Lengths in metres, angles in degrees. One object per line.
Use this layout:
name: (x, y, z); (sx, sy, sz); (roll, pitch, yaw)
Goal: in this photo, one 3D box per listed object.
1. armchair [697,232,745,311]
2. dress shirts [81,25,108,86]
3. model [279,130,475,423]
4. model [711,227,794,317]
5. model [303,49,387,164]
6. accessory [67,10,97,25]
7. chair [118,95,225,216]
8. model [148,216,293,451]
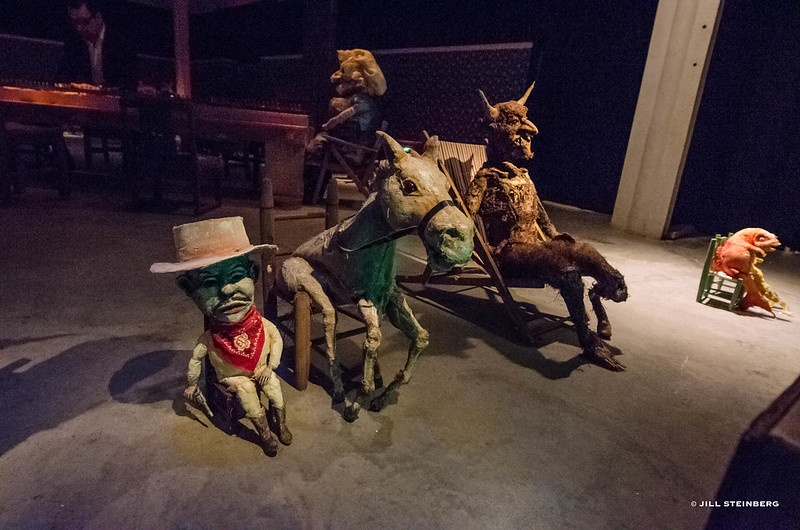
armchair: (4.237, 0.131, 6.700); (0.572, 0.984, 0.540); (12, 51, 31)
dress shirts: (-5.779, -4.022, 9.743); (0.319, 1.070, 1.326); (-8, 23, -29)
model: (-0.214, 0.117, 4.352); (1.685, 2.427, 0.759); (17, 24, 32)
model: (4.541, 0.164, 6.507); (0.324, 0.911, 0.658); (-31, 38, -6)
model: (-0.913, -3.040, 9.398); (1.424, 1.744, 1.043); (3, 11, -4)
accessory: (-5.745, -4.388, 9.174); (0.295, 0.153, 0.317); (0, -6, -6)
chair: (-3.802, -1.840, 8.443); (1.441, 1.850, 0.919); (7, 20, 9)
model: (-1.352, 0.557, 4.180); (1.073, 1.805, 0.570); (9, 21, 13)
